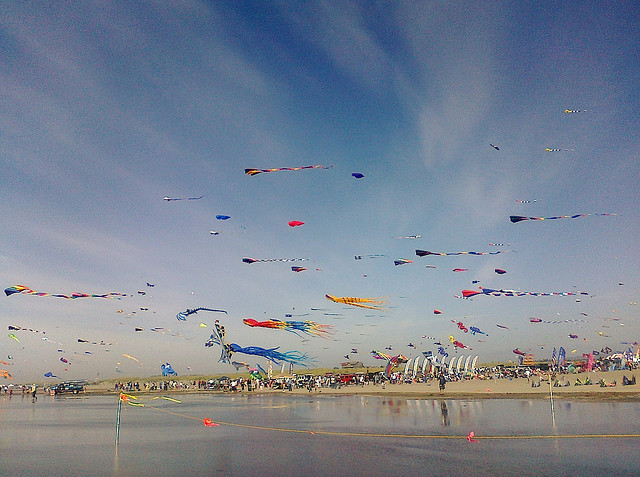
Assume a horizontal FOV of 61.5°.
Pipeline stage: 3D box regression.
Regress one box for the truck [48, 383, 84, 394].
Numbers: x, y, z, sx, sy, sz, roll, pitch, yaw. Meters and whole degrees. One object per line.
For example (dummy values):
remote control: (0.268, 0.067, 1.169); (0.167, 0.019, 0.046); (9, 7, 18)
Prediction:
truck: (-40.016, 23.615, 84.856); (3.570, 1.000, 1.915); (3, -8, -3)
